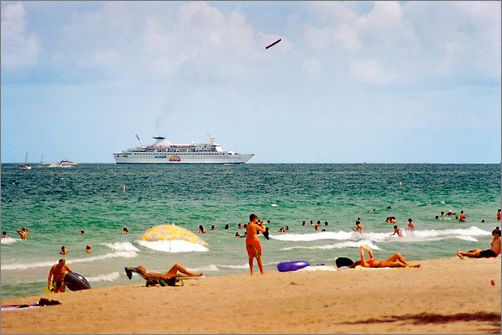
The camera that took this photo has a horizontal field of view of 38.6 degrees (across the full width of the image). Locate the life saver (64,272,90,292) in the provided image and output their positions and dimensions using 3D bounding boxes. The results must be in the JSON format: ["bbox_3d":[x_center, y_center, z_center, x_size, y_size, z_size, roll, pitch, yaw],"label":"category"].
[{"bbox_3d":[-9.636,6.243,39.372,1.417,1.003,0.706,-1,5,1],"label":"life saver"}]

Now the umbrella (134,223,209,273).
[{"bbox_3d":[-4.873,4.444,43.152,3.611,3.905,2.921,1,-1,-3],"label":"umbrella"}]

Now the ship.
[{"bbox_3d":[-20.096,-5.031,206.005,40.681,8.868,7.894,-1,0,9],"label":"ship"}]
